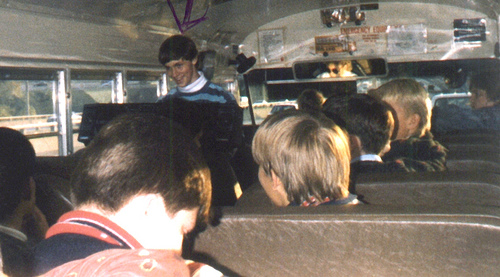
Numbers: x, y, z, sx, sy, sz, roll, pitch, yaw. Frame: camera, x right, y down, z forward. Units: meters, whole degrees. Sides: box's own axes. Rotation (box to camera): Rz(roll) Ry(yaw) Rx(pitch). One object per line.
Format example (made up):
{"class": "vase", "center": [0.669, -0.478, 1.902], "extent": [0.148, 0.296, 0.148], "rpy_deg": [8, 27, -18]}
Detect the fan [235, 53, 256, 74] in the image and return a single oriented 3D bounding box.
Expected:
{"class": "fan", "center": [-0.066, -1.176, 7.782], "extent": [0.303, 0.316, 0.307], "rpy_deg": [-2, 5, -1]}

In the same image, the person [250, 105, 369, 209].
{"class": "person", "center": [0.448, 0.167, 4.182], "extent": [0.883, 0.811, 0.243], "rpy_deg": [-1, 5, 9]}

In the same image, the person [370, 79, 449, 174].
{"class": "person", "center": [1.731, -0.127, 5.400], "extent": [1.152, 1.034, 0.725], "rpy_deg": [-10, 11, -42]}

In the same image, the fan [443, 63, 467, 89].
{"class": "fan", "center": [2.974, -0.908, 7.182], "extent": [0.301, 0.368, 0.065], "rpy_deg": [-1, 5, 8]}
